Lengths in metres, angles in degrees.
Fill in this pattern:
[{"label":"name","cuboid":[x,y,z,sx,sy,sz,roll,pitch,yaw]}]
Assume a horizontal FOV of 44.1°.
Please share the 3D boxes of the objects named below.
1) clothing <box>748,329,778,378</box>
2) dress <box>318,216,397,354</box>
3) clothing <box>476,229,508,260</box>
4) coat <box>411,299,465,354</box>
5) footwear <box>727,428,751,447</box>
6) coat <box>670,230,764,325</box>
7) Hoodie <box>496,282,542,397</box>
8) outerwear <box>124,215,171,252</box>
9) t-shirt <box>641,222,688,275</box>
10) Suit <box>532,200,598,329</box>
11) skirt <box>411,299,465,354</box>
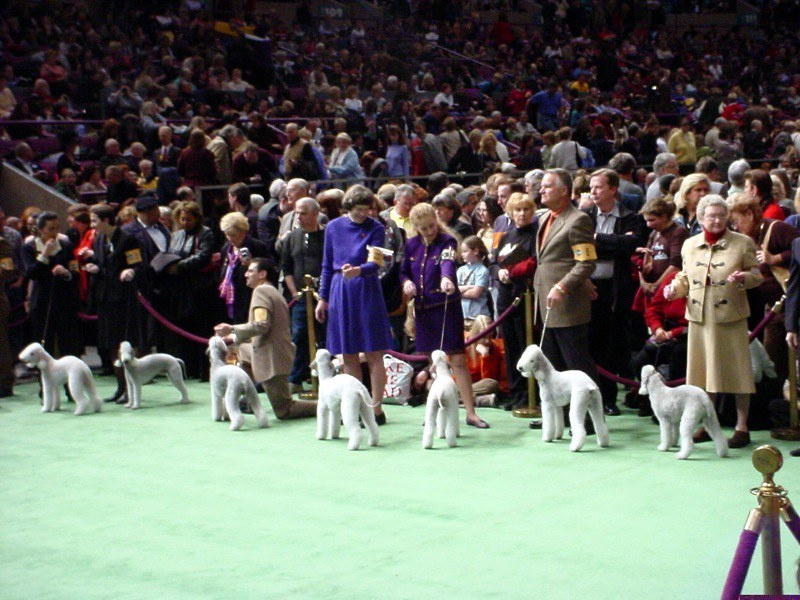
[{"label":"clothing","cuboid":[3.283,0.480,8.961,0.285,0.424,0.118,-5,1,-9]},{"label":"dress","cuboid":[-0.431,-0.141,9.389,0.638,1.283,0.542,-4,11,-3]},{"label":"clothing","cuboid":[1.002,-0.591,10.676,0.357,0.312,0.188,14,36,35]},{"label":"coat","cuboid":[0.376,0.242,9.439,0.450,0.588,0.318,-3,11,0]},{"label":"footwear","cuboid":[2.963,1.217,8.611,0.101,0.101,0.281,-12,-13,38]},{"label":"coat","cuboid":[2.830,-0.187,8.700,0.902,0.852,0.558,-3,-6,44]},{"label":"Hoodie","cuboid":[1.276,0.360,9.998,0.273,0.961,0.263,-8,-8,23]},{"label":"outerwear","cuboid":[-3.087,-0.793,11.977,0.233,0.385,0.420,-20,9,29]},{"label":"t-shirt","cuboid":[2.590,-0.490,9.639,0.390,0.619,0.570,1,-2,-20]},{"label":"Suit","cuboid":[1.517,-0.307,9.108,0.514,1.090,0.658,-3,11,0]},{"label":"skirt","cuboid":[0.375,0.243,9.438,0.452,0.588,0.315,-3,11,0]}]
